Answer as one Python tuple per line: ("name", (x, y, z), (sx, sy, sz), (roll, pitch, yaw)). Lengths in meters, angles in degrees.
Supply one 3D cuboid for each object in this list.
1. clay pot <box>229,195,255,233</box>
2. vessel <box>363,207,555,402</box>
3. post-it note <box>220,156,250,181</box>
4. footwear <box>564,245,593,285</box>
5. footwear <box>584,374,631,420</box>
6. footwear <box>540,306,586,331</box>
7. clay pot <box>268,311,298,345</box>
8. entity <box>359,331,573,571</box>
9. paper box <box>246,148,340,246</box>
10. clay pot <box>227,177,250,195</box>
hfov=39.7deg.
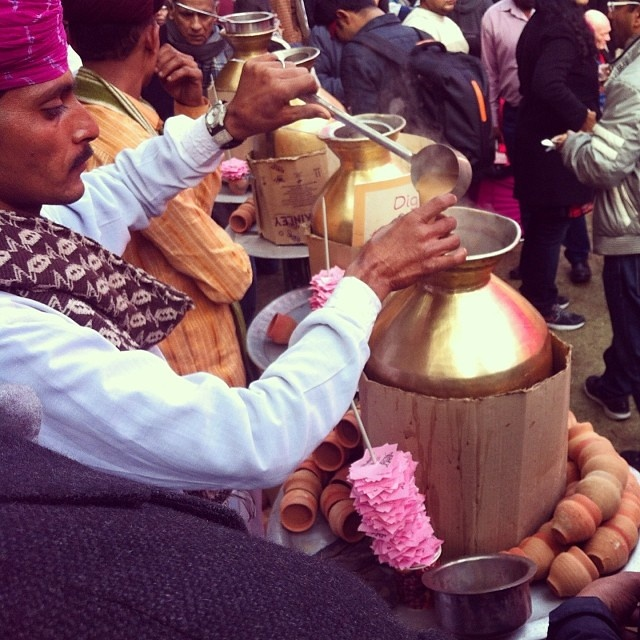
("clay pot", (-0.320, -0.441, 3.717), (0.077, 0.064, 0.228), (20, 25, 7))
("vessel", (0.284, -0.030, 1.887), (0.443, 0.406, 0.398), (2, 31, 10))
("post-it note", (-0.364, -0.668, 3.962), (0.127, 0.063, 0.112), (-13, 32, -19))
("footwear", (1.590, -0.321, 5.453), (0.118, 0.222, 0.308), (-25, 24, 29))
("footwear", (1.346, 0.337, 4.244), (0.124, 0.132, 0.299), (-15, 36, -11))
("footwear", (1.280, -0.006, 4.676), (0.307, 0.117, 0.091), (-1, 41, 3))
("clay pot", (-0.110, 0.026, 2.639), (0.076, 0.074, 0.086), (-9, 55, 56))
("entity", (0.341, 0.221, 1.908), (0.414, 0.367, 0.403), (12, 34, 28))
("paper box", (-0.024, -0.474, 3.412), (0.394, 0.331, 0.358), (-9, 12, -5))
("clay pot", (-0.349, -0.605, 4.000), (0.090, 0.052, 0.078), (-5, 25, -3))
